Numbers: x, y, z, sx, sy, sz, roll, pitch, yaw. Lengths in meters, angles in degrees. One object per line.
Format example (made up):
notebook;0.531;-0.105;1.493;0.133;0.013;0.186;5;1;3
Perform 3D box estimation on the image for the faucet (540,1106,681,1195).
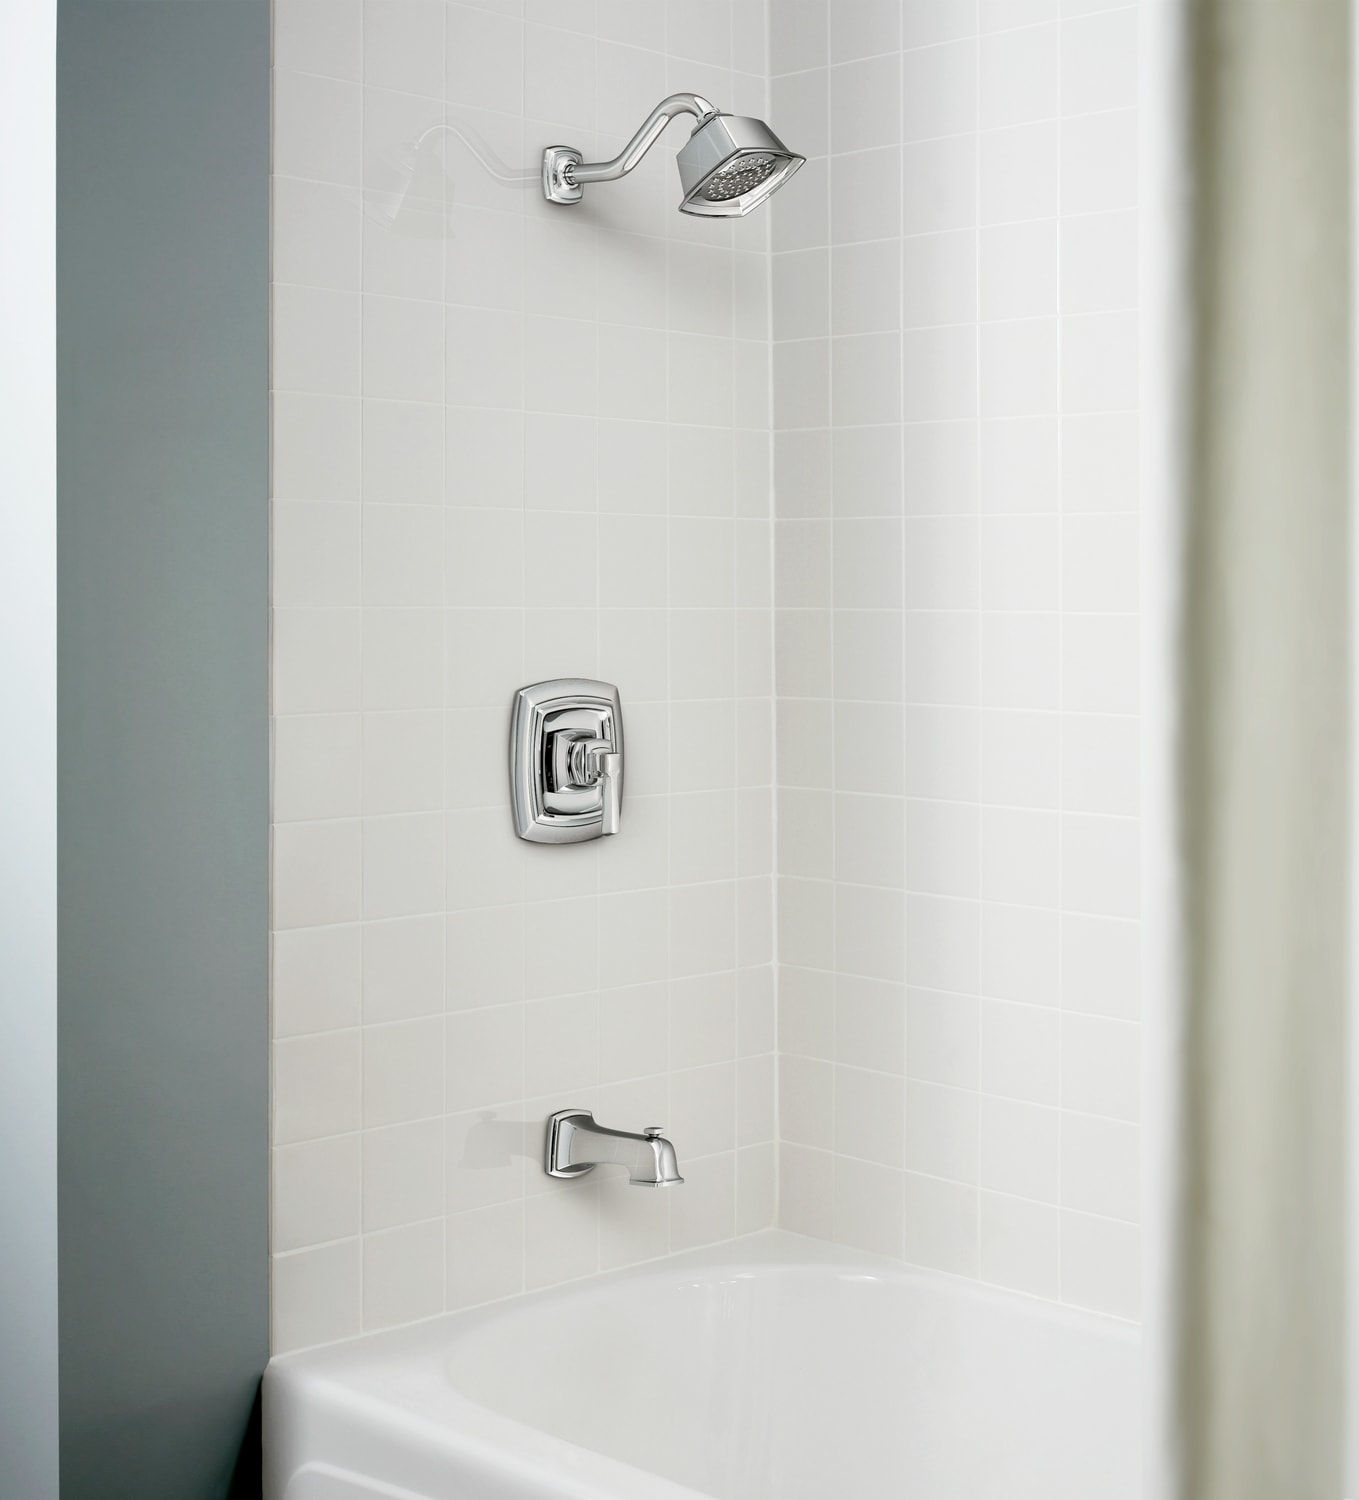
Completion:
faucet;-0.094;0.525;1.812;0.174;0.099;0.178;1;-22;-6
